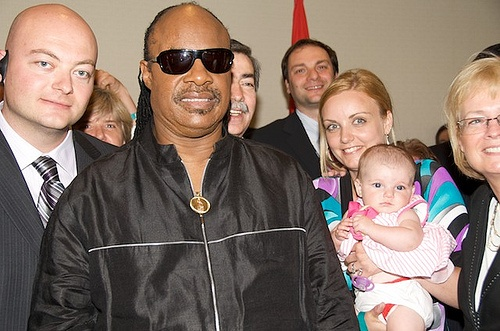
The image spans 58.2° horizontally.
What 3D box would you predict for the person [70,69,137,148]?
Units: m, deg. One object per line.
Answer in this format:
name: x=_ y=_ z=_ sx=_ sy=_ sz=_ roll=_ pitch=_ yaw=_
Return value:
person: x=-1.451 y=-0.500 z=4.608 sx=0.761 sy=0.897 sz=0.392 roll=-2 pitch=3 yaw=-16
